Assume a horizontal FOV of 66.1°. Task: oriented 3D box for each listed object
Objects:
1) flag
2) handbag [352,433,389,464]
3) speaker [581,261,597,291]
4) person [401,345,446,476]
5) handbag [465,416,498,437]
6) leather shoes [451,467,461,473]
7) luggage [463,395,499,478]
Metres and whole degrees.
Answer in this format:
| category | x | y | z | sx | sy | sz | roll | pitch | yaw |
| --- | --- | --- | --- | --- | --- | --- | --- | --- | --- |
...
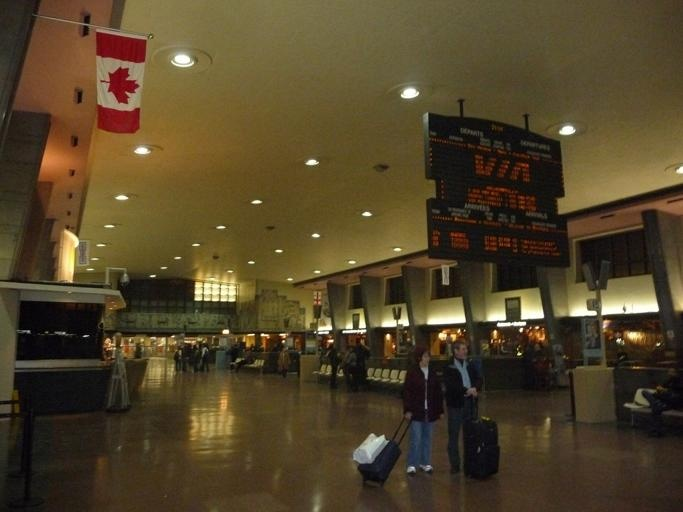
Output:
| category | x | y | z | sx | sy | sz | roll | pitch | yaw |
| --- | --- | --- | --- | --- | --- | --- | --- | --- | --- |
| flag | -3.460 | -2.723 | 8.164 | 0.721 | 1.538 | 0.446 | 3 | -9 | -18 |
| handbag | 0.463 | 2.871 | 7.701 | 0.417 | 0.486 | 0.195 | 5 | -45 | 53 |
| speaker | 6.173 | 0.478 | 12.963 | 0.284 | 0.724 | 0.869 | -4 | -10 | 24 |
| person | 1.283 | 2.402 | 8.168 | 0.610 | 1.894 | 0.536 | 0 | -9 | 6 |
| handbag | 2.095 | 2.685 | 7.906 | 0.420 | 0.298 | 0.285 | 9 | -10 | -43 |
| leather shoes | 1.775 | 3.294 | 8.082 | 0.134 | 0.089 | 0.215 | -2 | -10 | 16 |
| luggage | 2.138 | 2.782 | 7.962 | 0.478 | 1.115 | 0.486 | -4 | -9 | 31 |
